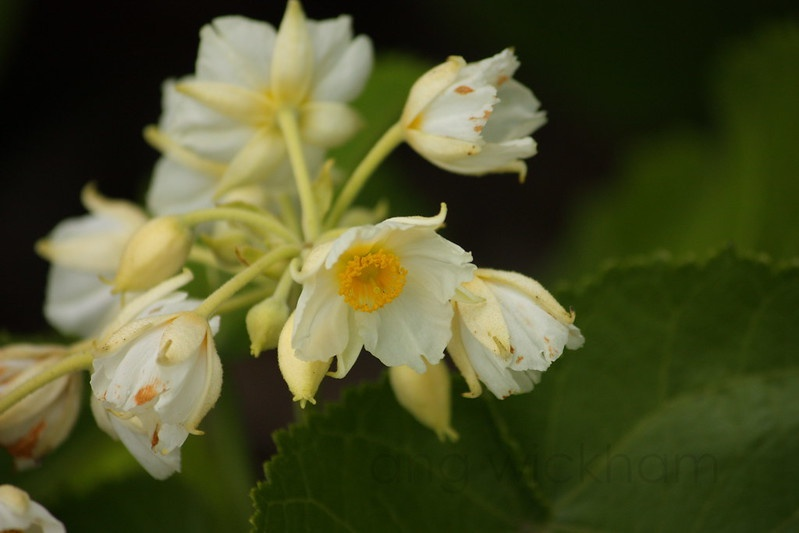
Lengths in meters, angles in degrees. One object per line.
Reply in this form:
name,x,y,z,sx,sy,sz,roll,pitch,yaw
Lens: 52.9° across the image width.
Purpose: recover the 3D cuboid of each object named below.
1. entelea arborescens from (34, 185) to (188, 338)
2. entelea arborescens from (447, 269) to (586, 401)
entelea arborescens,-0.614,-0.009,1.595,0.114,0.302,0.286,22,27,40
entelea arborescens,0.183,0.103,1.259,0.198,0.222,0.099,-24,-3,-3
